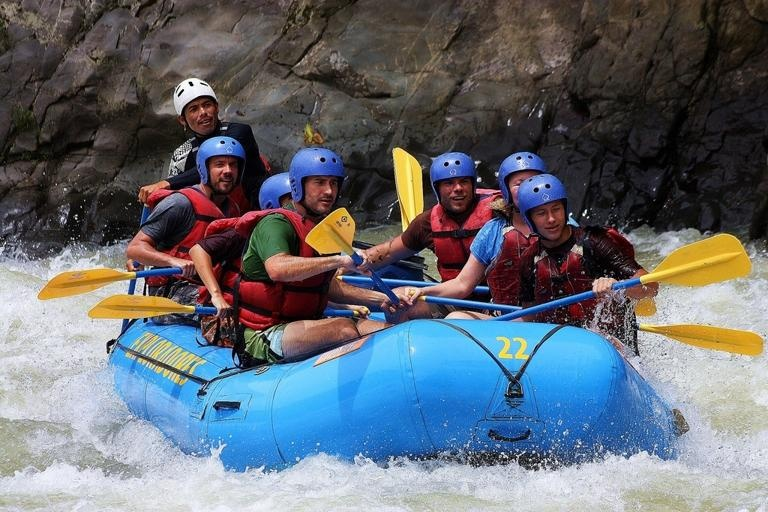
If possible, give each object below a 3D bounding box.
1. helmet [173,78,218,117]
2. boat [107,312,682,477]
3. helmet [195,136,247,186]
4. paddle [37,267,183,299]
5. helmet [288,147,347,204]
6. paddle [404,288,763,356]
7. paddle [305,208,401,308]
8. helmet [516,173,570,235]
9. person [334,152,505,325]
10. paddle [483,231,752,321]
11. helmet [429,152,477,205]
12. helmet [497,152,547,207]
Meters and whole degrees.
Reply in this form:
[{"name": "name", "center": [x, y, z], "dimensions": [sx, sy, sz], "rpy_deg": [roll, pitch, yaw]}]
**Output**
[{"name": "helmet", "center": [-2.085, -1.661, 9.762], "dimensions": [0.396, 0.609, 0.427], "rpy_deg": [-9, 32, -26]}, {"name": "boat", "center": [-0.035, 1.187, 7.452], "dimensions": [3.034, 0.807, 1.951], "rpy_deg": [-2, -8, 33]}, {"name": "helmet", "center": [-1.679, -1.014, 8.830], "dimensions": [0.406, 0.462, 0.536], "rpy_deg": [-5, 10, -31]}, {"name": "paddle", "center": [-2.811, 0.280, 9.185], "dimensions": [1.514, 0.312, 0.115], "rpy_deg": [-8, 18, -7]}, {"name": "helmet", "center": [-0.639, -0.774, 8.028], "dimensions": [0.575, 0.506, 0.478], "rpy_deg": [9, 14, 42]}, {"name": "paddle", "center": [2.304, 0.495, 7.635], "dimensions": [2.561, 0.210, 0.380], "rpy_deg": [8, 1, 9]}, {"name": "paddle", "center": [-0.254, 0.022, 7.545], "dimensions": [0.407, 1.122, 0.123], "rpy_deg": [-42, 13, -7]}, {"name": "helmet", "center": [1.441, -0.388, 7.770], "dimensions": [0.363, 0.486, 0.504], "rpy_deg": [-12, -20, 11]}, {"name": "person", "center": [0.553, -0.280, 8.893], "dimensions": [1.357, 1.082, 1.567], "rpy_deg": [-6, 9, 0]}, {"name": "paddle", "center": [2.226, 0.164, 7.466], "dimensions": [1.607, 0.710, 0.292], "rpy_deg": [1, 17, 9]}, {"name": "helmet", "center": [0.678, -0.891, 8.947], "dimensions": [0.359, 0.472, 0.484], "rpy_deg": [-7, -16, -2]}, {"name": "helmet", "center": [1.330, -0.757, 8.552], "dimensions": [0.474, 0.546, 0.503], "rpy_deg": [-6, 1, 39]}]
